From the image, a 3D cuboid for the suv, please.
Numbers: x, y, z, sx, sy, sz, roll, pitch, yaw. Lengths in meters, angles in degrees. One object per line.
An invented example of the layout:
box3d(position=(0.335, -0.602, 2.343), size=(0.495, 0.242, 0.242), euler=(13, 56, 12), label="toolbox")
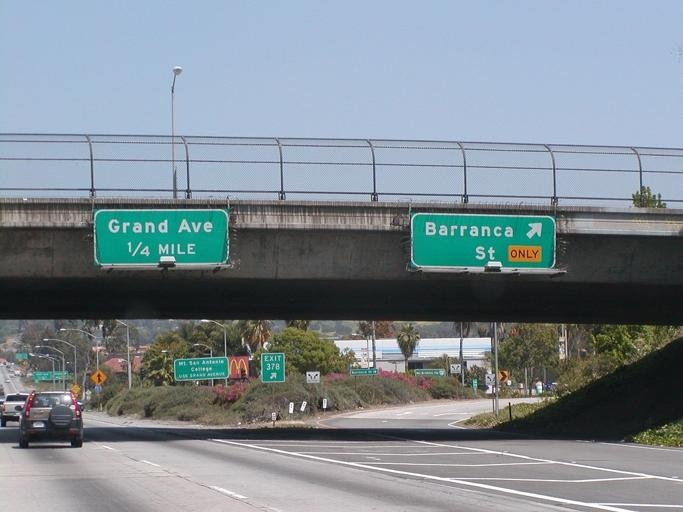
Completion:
box3d(position=(-15.037, 8.615, 88.437), size=(2.915, 3.090, 4.565), euler=(2, -7, -14), label="suv")
